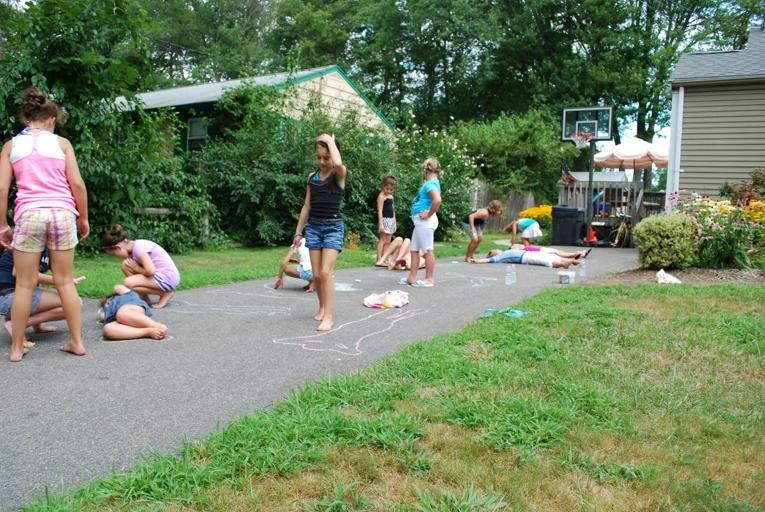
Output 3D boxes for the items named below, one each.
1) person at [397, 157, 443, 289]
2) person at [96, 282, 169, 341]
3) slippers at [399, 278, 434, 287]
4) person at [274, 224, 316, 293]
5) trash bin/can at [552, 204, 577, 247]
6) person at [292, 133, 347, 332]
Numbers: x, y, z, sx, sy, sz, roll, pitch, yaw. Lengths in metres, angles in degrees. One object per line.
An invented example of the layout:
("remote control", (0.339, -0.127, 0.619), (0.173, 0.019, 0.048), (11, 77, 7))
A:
("person", (0.679, -0.589, 10.791), (0.554, 2.157, 0.837), (2, 7, 2))
("person", (-3.015, 0.754, 7.403), (0.862, 0.278, 0.506), (26, 33, 20))
("slippers", (0.554, 0.485, 10.754), (0.207, 0.134, 0.513), (0, -3, -24))
("person", (-1.347, 0.049, 10.501), (0.644, 0.964, 0.698), (1, 0, 37))
("trash bin/can", (5.321, -0.875, 18.484), (1.096, 1.431, 1.012), (1, 0, 12))
("person", (-0.776, -0.328, 7.938), (0.590, 2.391, 0.987), (1, 7, -6))
